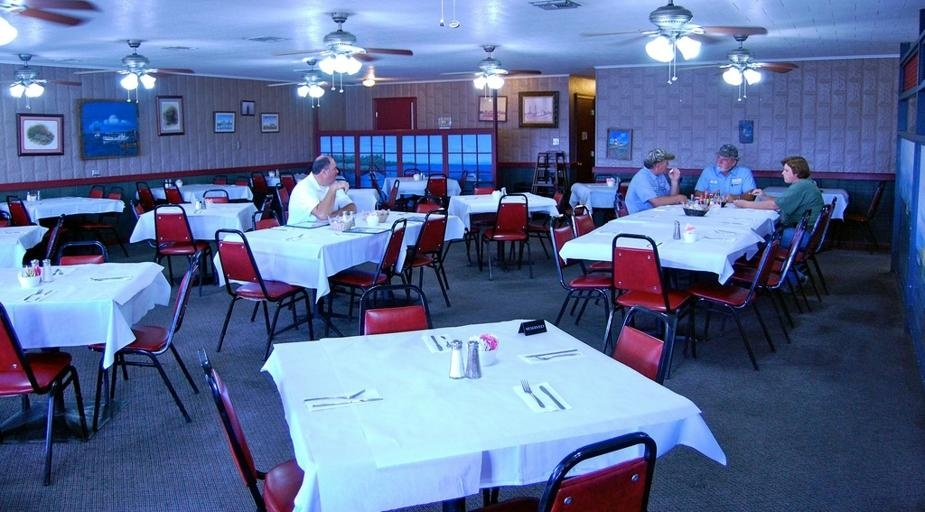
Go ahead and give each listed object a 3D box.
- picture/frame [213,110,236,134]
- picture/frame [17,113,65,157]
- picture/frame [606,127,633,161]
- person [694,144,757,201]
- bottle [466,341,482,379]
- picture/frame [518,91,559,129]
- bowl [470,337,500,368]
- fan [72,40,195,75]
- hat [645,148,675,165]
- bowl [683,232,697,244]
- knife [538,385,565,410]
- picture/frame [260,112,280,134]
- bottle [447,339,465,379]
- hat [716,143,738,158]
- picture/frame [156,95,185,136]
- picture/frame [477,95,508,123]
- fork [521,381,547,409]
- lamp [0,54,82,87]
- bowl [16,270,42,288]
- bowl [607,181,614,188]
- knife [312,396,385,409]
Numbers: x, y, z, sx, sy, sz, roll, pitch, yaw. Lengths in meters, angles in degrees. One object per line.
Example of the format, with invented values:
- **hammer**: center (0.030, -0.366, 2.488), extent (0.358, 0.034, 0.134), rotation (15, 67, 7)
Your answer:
- **picture/frame**: center (-5.340, -2.981, 13.135), extent (0.041, 0.560, 0.512), rotation (5, -13, 44)
- **picture/frame**: center (-7.626, -2.186, 10.700), extent (0.973, 0.741, 0.047), rotation (3, 6, 10)
- **picture/frame**: center (3.198, -2.304, 12.033), extent (0.756, 0.777, 0.061), rotation (3, 7, 20)
- **person**: center (3.695, -1.144, 8.290), extent (0.857, 0.694, 0.511), rotation (6, 22, 42)
- **bottle**: center (0.059, 0.642, 3.704), extent (0.097, 0.222, 0.117), rotation (-4, 13, 1)
- **picture/frame**: center (1.815, -3.481, 14.004), extent (1.060, 0.811, 0.082), rotation (1, 2, 20)
- **bowl**: center (0.161, 0.617, 3.810), extent (0.194, 0.127, 0.176), rotation (2, 8, 24)
- **fan**: center (-5.170, -3.129, 9.275), extent (1.052, 0.255, 0.874), rotation (0, 6, -7)
- **hat**: center (2.605, -1.316, 7.842), extent (0.228, 0.191, 0.658), rotation (4, 13, 29)
- **bowl**: center (2.270, -0.181, 5.919), extent (0.123, 0.080, 0.108), rotation (-1, 5, 9)
- **knife**: center (0.528, 0.840, 3.498), extent (0.056, 0.025, 0.222), rotation (-14, 24, -15)
- **picture/frame**: center (-4.644, -3.182, 14.076), extent (0.046, 0.436, 0.642), rotation (5, 4, 25)
- **bottle**: center (-0.044, 0.650, 3.705), extent (0.098, 0.220, 0.127), rotation (-4, 13, -1)
- **hat**: center (3.605, -1.405, 8.107), extent (0.273, 0.170, 0.347), rotation (9, 17, 4)
- **picture/frame**: center (-6.090, -2.897, 12.260), extent (0.136, 0.783, 0.579), rotation (4, 15, 30)
- **picture/frame**: center (0.728, -3.584, 14.347), extent (1.003, 0.744, 0.076), rotation (3, 7, 8)
- **fork**: center (0.414, 0.831, 3.515), extent (0.053, 0.041, 0.282), rotation (-18, 27, -3)
- **lamp**: center (-7.271, -3.172, 10.076), extent (0.866, 0.302, 0.845), rotation (5, 12, 26)
- **bowl**: center (-3.616, 0.197, 4.912), extent (0.156, 0.090, 0.150), rotation (-1, -4, 0)
- **bowl**: center (2.718, -1.320, 10.917), extent (0.097, 0.069, 0.099), rotation (-1, 1, 0)
- **knife**: center (-0.675, 0.858, 3.496), extent (0.432, 0.044, 0.118), rotation (-1, 12, -11)
